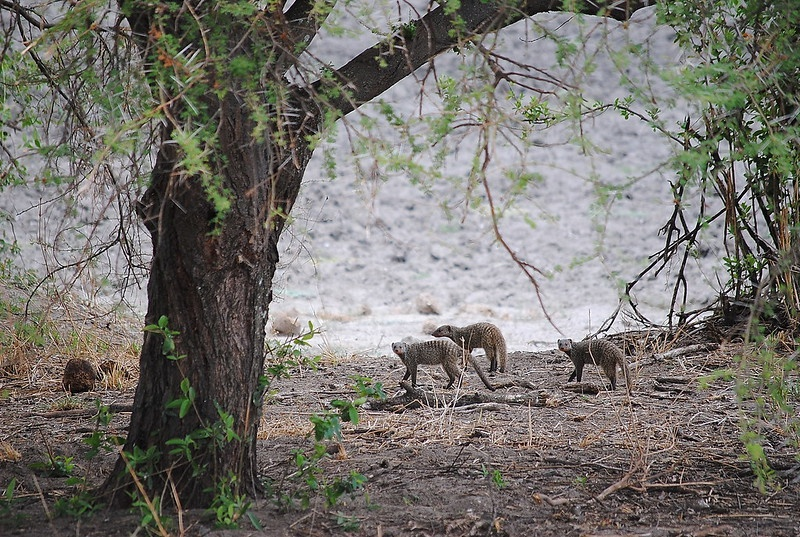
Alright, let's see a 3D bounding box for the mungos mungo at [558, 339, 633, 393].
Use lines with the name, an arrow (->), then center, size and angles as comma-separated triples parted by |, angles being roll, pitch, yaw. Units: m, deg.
mungos mungo -> 1.558, 0.739, 8.959 | 0.162, 0.361, 0.704 | -6, 10, -44
